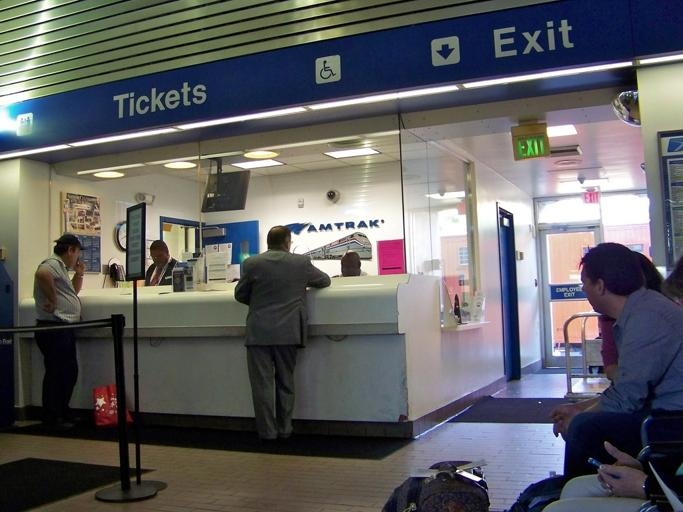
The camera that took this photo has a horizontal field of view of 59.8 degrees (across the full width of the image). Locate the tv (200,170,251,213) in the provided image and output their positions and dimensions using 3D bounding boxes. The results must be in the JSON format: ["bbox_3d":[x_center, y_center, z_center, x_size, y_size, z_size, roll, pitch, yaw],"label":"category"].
[{"bbox_3d":[-1.401,-0.802,7.018,0.520,0.489,0.121,3,-4,1],"label":"tv"}]

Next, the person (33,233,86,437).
[{"bbox_3d":[-3.188,0.784,6.657,0.476,2.103,0.611,1,-4,-26],"label":"person"}]

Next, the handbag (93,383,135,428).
[{"bbox_3d":[-2.608,1.619,6.510,0.207,0.411,0.392,1,-4,-28],"label":"handbag"}]

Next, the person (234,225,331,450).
[{"bbox_3d":[-0.609,0.717,5.604,0.792,2.046,0.341,0,-4,-10],"label":"person"}]

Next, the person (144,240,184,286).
[{"bbox_3d":[-2.262,0.072,7.360,0.338,0.569,0.886,0,-3,-18],"label":"person"}]

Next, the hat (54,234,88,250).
[{"bbox_3d":[-3.096,-0.189,6.862,0.387,0.224,0.286,-2,2,-42],"label":"hat"}]
